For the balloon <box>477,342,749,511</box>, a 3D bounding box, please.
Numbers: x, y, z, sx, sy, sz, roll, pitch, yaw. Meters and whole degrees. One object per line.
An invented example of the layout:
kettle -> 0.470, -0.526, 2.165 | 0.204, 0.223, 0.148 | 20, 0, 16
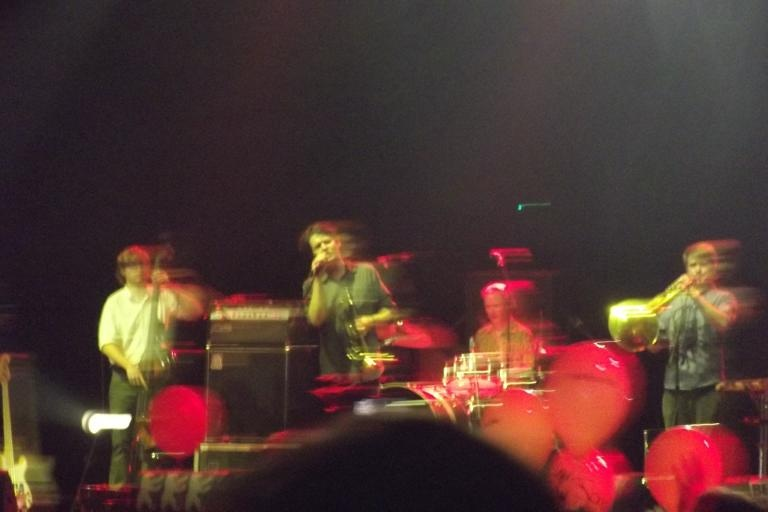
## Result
balloon -> 1.681, 1.233, 6.468 | 1.683, 0.873, 0.867 | -25, -11, -21

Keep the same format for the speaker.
speaker -> -1.107, 1.163, 6.913 | 1.238, 1.154, 0.667 | 1, -4, -6

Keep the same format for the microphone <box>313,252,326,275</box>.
microphone -> -0.554, 0.066, 6.542 | 0.123, 0.167, 0.041 | 40, 13, 17

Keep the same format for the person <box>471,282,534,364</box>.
person -> 1.074, 0.596, 6.978 | 0.571, 0.761, 0.424 | -3, -11, 35

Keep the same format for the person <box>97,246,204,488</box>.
person -> -2.058, 0.869, 6.773 | 0.589, 2.061, 0.661 | 0, 2, -35

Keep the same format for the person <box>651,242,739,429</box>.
person -> 2.595, 0.676, 6.524 | 0.483, 1.669, 0.566 | 0, 2, 26

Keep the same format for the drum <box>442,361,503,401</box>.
drum -> 0.692, 0.990, 6.279 | 0.324, 0.252, 0.362 | 1, -1, 16

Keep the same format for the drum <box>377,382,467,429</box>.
drum -> 0.257, 1.005, 5.283 | 0.427, 0.412, 0.636 | 2, 4, 15
